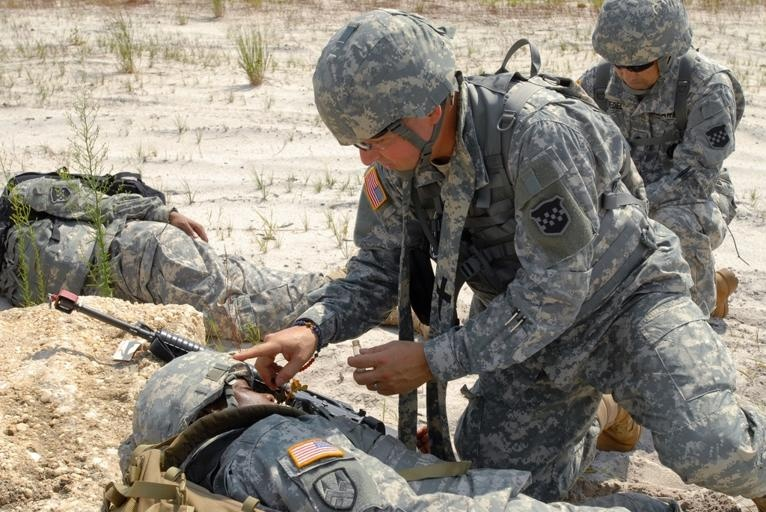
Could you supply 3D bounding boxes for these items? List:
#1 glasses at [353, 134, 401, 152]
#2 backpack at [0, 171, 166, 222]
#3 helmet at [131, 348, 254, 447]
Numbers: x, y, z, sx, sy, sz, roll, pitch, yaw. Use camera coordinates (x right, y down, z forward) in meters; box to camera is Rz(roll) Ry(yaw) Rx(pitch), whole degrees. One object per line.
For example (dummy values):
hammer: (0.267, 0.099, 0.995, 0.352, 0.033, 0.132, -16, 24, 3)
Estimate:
glasses: (-0.047, -0.690, 5.633, 0.163, 0.050, 0.121, -33, 4, -17)
backpack: (-2.319, -0.555, 7.389, 0.842, 0.342, 0.561, 4, 11, -4)
helmet: (-1.128, 0.833, 5.732, 0.596, 0.575, 0.469, 9, 19, 4)
